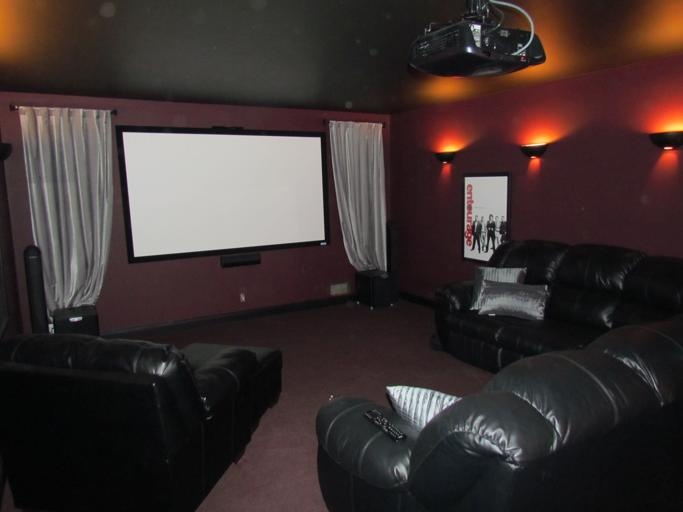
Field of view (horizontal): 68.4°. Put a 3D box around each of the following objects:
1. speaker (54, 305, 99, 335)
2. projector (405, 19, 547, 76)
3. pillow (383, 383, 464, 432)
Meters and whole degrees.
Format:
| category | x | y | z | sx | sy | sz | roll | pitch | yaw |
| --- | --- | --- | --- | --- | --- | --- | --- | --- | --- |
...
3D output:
| category | x | y | z | sx | sy | sz | roll | pitch | yaw |
| --- | --- | --- | --- | --- | --- | --- | --- | --- | --- |
| speaker | -2.744 | 0.682 | 5.175 | 0.406 | 0.260 | 0.394 | -11 | 17 | -32 |
| projector | 0.827 | -1.286 | 3.081 | 0.457 | 0.183 | 0.472 | -3 | 9 | -21 |
| pillow | 0.393 | 0.746 | 2.558 | 0.284 | 0.125 | 0.283 | -12 | 12 | -25 |
